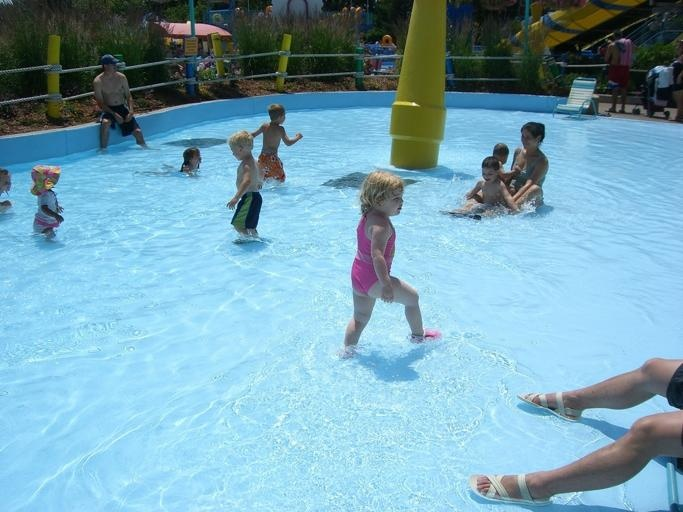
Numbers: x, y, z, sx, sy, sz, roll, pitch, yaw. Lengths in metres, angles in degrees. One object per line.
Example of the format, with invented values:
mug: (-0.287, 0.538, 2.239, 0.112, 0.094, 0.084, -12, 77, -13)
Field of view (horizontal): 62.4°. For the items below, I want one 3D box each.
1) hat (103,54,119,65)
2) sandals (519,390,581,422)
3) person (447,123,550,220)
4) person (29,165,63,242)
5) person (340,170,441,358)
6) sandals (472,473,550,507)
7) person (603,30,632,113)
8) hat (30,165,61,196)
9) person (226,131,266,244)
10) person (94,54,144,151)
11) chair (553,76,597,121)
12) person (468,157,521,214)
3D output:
hat: (-4.462, -3.735, 10.765, 0.242, 0.180, 0.361, -8, 19, -23)
sandals: (1.447, 0.996, 3.946, 0.400, 0.147, 0.148, 22, 19, 36)
person: (1.967, -0.920, 7.668, 0.916, 0.747, 0.518, 4, 25, 32)
person: (-3.523, -0.588, 6.683, 0.406, 1.156, 0.438, -10, 58, -35)
person: (0.392, 0.097, 4.473, 0.894, 1.453, 0.781, -2, 17, 3)
sandals: (0.987, 1.369, 3.308, 0.445, 0.121, 0.163, 1, 46, 20)
person: (7.841, -5.185, 15.982, 0.687, 2.190, 0.668, 8, 21, 23)
hat: (-3.340, -0.832, 6.323, 0.353, 0.334, 0.190, -2, 19, -4)
person: (-1.137, -0.799, 6.597, 0.389, 1.289, 0.632, -4, 19, -9)
person: (-4.441, -3.004, 11.012, 0.872, 1.730, 0.858, -11, 21, -27)
chair: (6.885, -4.511, 16.116, 0.850, 0.981, 1.531, 18, 44, 37)
person: (2.043, -0.962, 7.573, 0.684, 0.721, 0.314, 6, 20, 19)
